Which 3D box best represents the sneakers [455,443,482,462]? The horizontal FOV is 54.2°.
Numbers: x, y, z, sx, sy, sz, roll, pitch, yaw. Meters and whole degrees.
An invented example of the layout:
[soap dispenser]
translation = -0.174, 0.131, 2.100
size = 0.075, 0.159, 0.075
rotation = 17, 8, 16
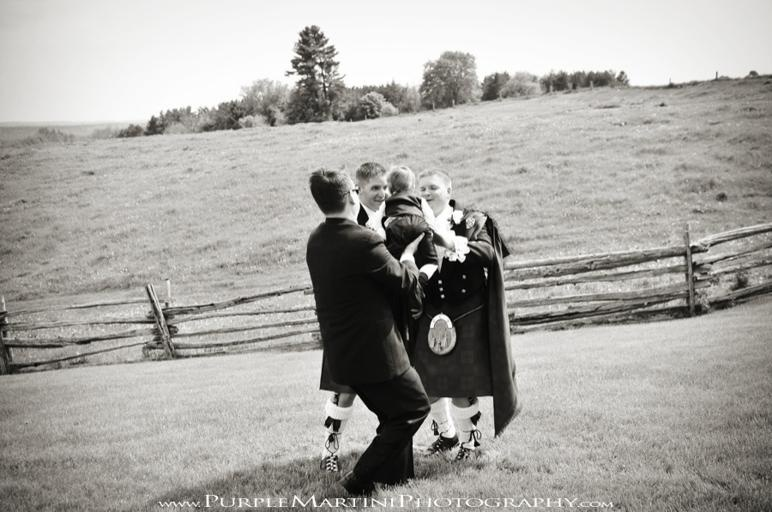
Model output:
[sneakers]
translation = 1.473, 3.617, 13.886
size = 0.632, 0.291, 0.215
rotation = -6, 4, -36
